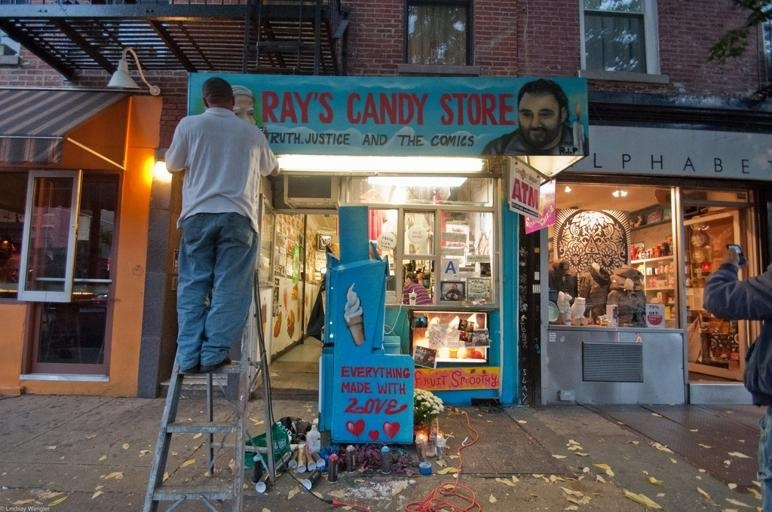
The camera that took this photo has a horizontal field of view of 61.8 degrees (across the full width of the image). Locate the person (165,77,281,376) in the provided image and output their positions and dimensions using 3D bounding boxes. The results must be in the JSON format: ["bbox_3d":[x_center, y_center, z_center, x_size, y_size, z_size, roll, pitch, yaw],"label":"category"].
[{"bbox_3d":[-2.100,-0.412,8.019,1.132,3.708,0.314,1,-8,-10],"label":"person"}]

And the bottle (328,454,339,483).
[{"bbox_3d":[-0.694,2.852,8.593,0.147,0.361,0.114,3,-9,-27],"label":"bottle"}]

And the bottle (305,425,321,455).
[{"bbox_3d":[-1.018,2.607,8.975,0.224,0.319,0.175,-2,-8,8],"label":"bottle"}]

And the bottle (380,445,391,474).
[{"bbox_3d":[0.003,2.792,8.766,0.144,0.338,0.122,0,-8,-9],"label":"bottle"}]

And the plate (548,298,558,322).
[{"bbox_3d":[2.896,0.971,11.241,0.222,0.411,0.072,4,-9,-31],"label":"plate"}]

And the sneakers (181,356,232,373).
[{"bbox_3d":[-2.172,1.350,7.843,0.572,0.194,0.204,2,-8,-17],"label":"sneakers"}]

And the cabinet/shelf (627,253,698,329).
[{"bbox_3d":[4.894,0.684,11.509,1.271,1.530,0.450,1,-9,0],"label":"cabinet/shelf"}]

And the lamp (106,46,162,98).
[{"bbox_3d":[-4.213,-3.106,10.892,0.478,0.746,0.862,8,9,37],"label":"lamp"}]
